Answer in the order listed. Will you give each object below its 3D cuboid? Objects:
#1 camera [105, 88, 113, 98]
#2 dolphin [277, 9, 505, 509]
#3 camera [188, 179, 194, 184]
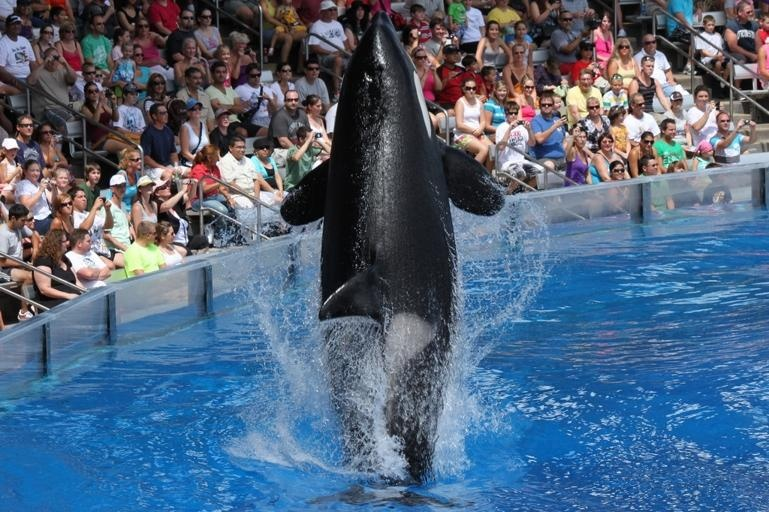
[{"bbox_3d":[-4.042,-2.448,18.370,0.093,0.204,0.095,3,-34,-3],"label":"camera"},{"bbox_3d":[0.035,0.121,11.716,1.885,4.192,1.872,1,-2,-7],"label":"dolphin"},{"bbox_3d":[-2.687,-1.041,17.325,0.071,0.059,0.016,6,-7,-9],"label":"camera"}]
